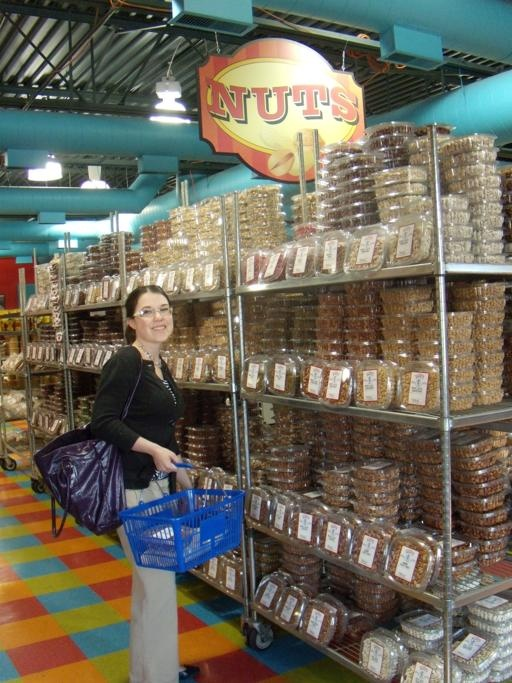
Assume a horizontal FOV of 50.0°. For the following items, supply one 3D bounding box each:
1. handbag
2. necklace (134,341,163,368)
[{"bbox_3d":[-0.641,0.522,1.966,0.323,0.332,0.094,-5,-2,15],"label":"handbag"},{"bbox_3d":[-0.421,0.035,2.151,0.086,0.111,0.102,-9,-13,-47],"label":"necklace"}]
